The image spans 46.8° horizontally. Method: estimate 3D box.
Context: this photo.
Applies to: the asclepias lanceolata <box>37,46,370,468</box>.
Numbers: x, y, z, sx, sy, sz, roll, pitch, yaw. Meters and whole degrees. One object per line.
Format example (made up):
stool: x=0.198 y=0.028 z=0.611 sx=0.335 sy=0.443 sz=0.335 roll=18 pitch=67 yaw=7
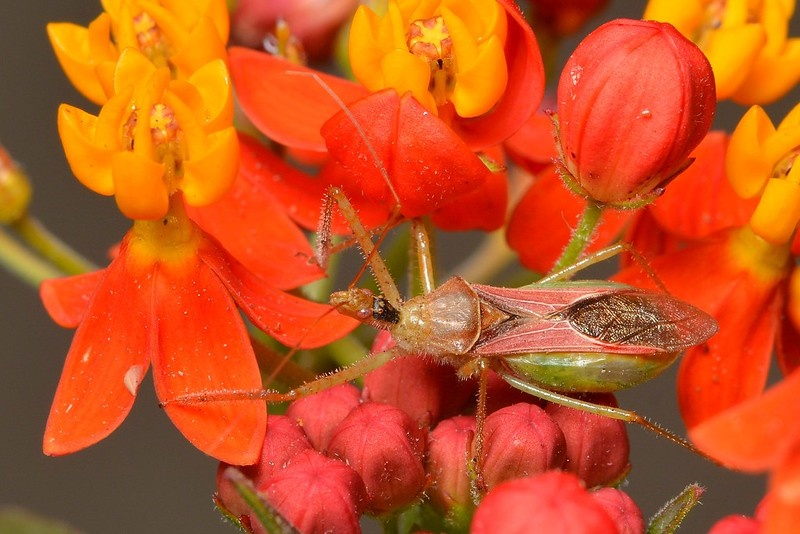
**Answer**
asclepias lanceolata: x=-0.423 y=-0.086 z=1.766 sx=0.678 sy=0.497 sz=0.737 roll=-16 pitch=26 yaw=-31
